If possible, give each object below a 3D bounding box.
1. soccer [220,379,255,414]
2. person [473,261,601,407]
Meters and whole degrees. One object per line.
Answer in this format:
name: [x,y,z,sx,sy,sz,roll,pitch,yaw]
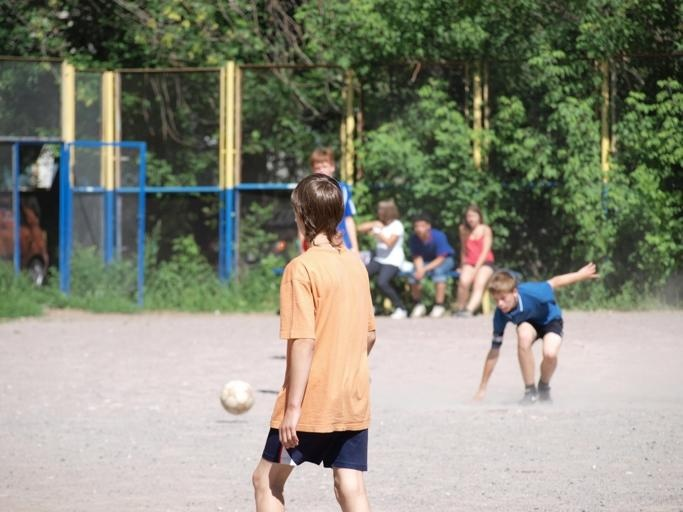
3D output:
soccer: [-1.071,1.370,15.657,0.313,0.320,0.312,-10,29,-40]
person: [2.068,0.826,16.763,1.434,1.450,0.640,-3,-4,-6]
